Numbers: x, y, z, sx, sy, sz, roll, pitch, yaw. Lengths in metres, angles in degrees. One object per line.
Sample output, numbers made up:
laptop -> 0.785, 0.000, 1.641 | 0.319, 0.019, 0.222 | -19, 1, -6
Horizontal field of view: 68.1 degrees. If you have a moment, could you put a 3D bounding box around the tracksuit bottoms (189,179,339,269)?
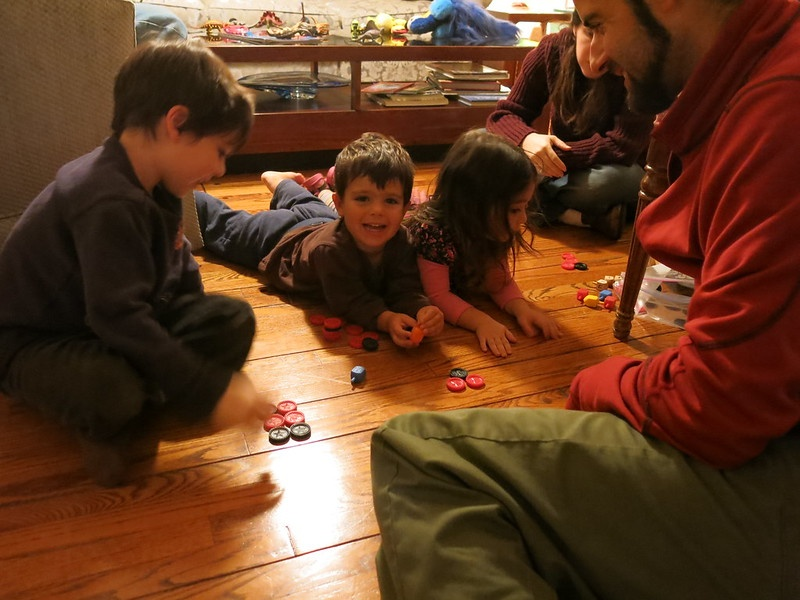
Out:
tracksuit bottoms -> -0.492, -0.262, 2.096 | 0.354, 0.134, 0.425 | -10, 25, -43

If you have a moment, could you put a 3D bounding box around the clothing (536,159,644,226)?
clothing -> 0.780, -0.452, 2.510 | 0.416, 0.124, 0.369 | -5, 7, -11

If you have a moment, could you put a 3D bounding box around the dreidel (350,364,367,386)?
dreidel -> -0.112, 0.203, 1.583 | 0.033, 0.048, 0.040 | 7, 1, 33

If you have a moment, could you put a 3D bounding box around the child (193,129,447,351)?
child -> -0.192, -0.302, 2.021 | 1.058, 0.490, 0.527 | 32, 41, 32

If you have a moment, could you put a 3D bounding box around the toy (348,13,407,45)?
toy -> -0.097, -1.340, 2.982 | 0.352, 0.131, 0.184 | -4, 35, -5

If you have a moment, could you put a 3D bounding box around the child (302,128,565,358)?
child -> -0.267, -0.309, 2.112 | 0.623, 0.589, 1.306 | -15, 30, -35

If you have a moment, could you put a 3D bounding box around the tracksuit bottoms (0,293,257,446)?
tracksuit bottoms -> -0.606, 0.141, 1.350 | 0.440, 0.143, 0.425 | 20, 25, 24

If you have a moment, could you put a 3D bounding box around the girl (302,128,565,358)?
girl -> -0.220, -0.305, 2.094 | 0.673, 0.598, 1.258 | -15, 31, -34

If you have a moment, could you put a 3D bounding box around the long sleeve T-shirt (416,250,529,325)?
long sleeve T-shirt -> 0.217, -0.036, 1.901 | 0.239, 0.082, 0.300 | -13, 35, -42
